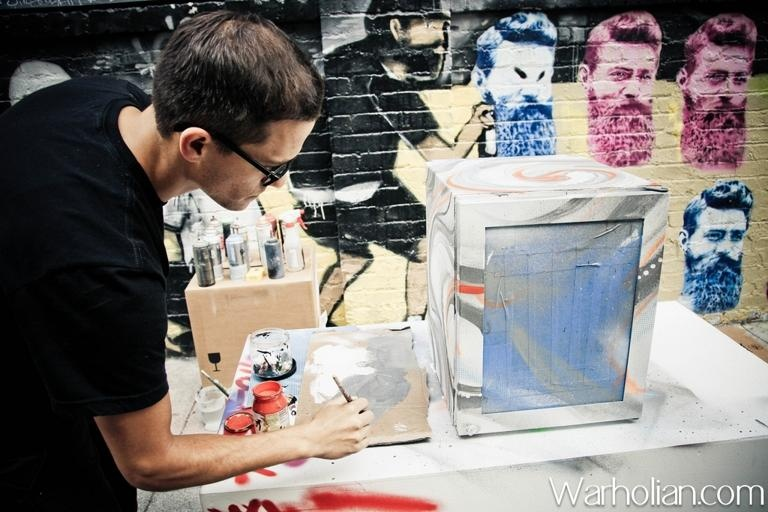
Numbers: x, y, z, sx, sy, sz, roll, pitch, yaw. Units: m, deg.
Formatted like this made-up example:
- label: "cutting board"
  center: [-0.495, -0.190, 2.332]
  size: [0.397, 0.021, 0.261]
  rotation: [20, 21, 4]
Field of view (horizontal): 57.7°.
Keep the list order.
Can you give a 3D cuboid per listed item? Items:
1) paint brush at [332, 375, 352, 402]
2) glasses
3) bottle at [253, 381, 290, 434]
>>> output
- label: "paint brush"
  center: [-0.165, 0.519, 2.719]
  size: [0.022, 0.151, 0.022]
  rotation: [-5, 48, 34]
- label: "glasses"
  center: [-0.533, -0.322, 2.441]
  size: [0.074, 0.249, 0.240]
  rotation: [-48, 17, -18]
- label: "bottle"
  center: [-0.427, 0.575, 2.626]
  size: [0.148, 0.214, 0.137]
  rotation: [-5, 16, 1]
